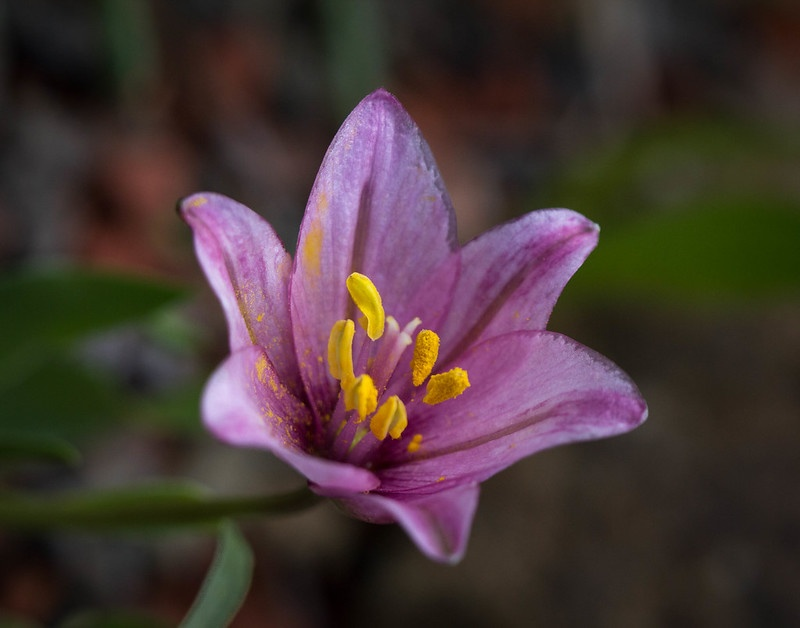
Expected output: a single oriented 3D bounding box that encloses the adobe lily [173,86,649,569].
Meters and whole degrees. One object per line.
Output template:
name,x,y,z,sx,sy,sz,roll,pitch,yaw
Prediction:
adobe lily,0.024,0.036,1.502,0.773,0.439,0.698,-30,56,-16
